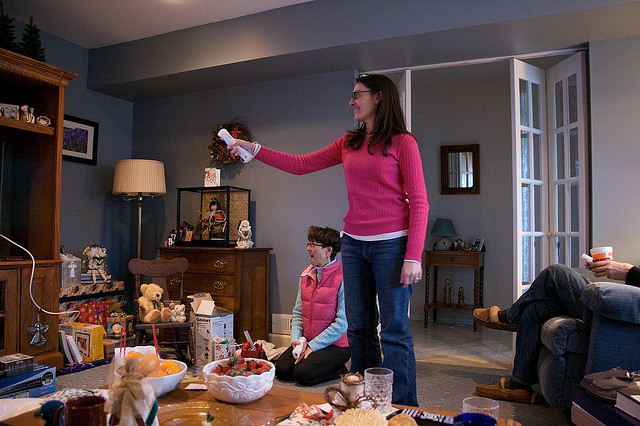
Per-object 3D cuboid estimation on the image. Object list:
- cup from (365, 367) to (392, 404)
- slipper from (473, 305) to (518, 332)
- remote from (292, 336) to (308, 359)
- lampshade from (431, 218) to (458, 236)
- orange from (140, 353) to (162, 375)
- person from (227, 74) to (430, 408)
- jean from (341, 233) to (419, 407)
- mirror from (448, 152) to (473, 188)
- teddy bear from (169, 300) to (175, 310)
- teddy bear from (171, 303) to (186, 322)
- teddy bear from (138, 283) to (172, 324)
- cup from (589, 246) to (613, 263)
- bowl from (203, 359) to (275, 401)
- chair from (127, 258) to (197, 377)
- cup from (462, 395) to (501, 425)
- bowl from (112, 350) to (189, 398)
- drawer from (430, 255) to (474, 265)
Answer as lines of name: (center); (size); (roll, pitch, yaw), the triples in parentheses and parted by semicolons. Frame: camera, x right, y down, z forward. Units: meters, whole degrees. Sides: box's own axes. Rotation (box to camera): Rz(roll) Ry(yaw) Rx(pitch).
cup: (0.281, 0.841, 2.257); (0.157, 0.172, 0.159); (0, -4, 0)
slipper: (1.408, 0.838, 3.707); (0.178, 0.104, 0.309); (3, 1, -32)
remote: (-0.176, 1.126, 3.824); (0.072, 0.089, 0.210); (-21, 23, 23)
lampshade: (1.610, 0.195, 5.913); (0.238, 0.238, 0.242); (-3, 1, 20)
orange: (-0.891, 0.786, 2.364); (0.073, 0.071, 0.099); (-20, 16, 24)
person: (0.255, 0.156, 2.878); (0.881, 2.003, 0.311); (-2, -3, 35)
jean: (0.351, 0.682, 2.842); (0.451, 1.237, 0.352); (-2, 7, 10)
mirror: (1.870, -0.552, 6.101); (0.365, 0.692, 0.059); (0, 34, 17)
teddy bear: (-1.335, 0.835, 4.126); (0.050, 0.087, 0.062); (-12, -21, 34)
teddy bear: (-1.277, 0.897, 4.080); (0.133, 0.176, 0.125); (9, -21, -30)
teddy bear: (-1.507, 0.828, 4.141); (0.259, 0.361, 0.294); (12, -17, -40)
cup: (1.987, 0.280, 3.228); (0.132, 0.143, 0.132); (0, -1, 0)
bowl: (-0.431, 0.876, 2.388); (0.369, 0.183, 0.182); (0, -3, -4)
chair: (-1.568, 1.010, 4.462); (0.772, 0.976, 0.731); (-24, -27, 32)
cup: (0.713, 0.907, 2.060); (0.142, 0.112, 0.148); (1, -10, 0)
bowl: (-0.887, 0.858, 2.411); (0.314, 0.174, 0.311); (3, -18, 1)
drawer: (1.647, 0.584, 5.671); (0.519, 0.116, 0.039); (-1, -3, 17)
